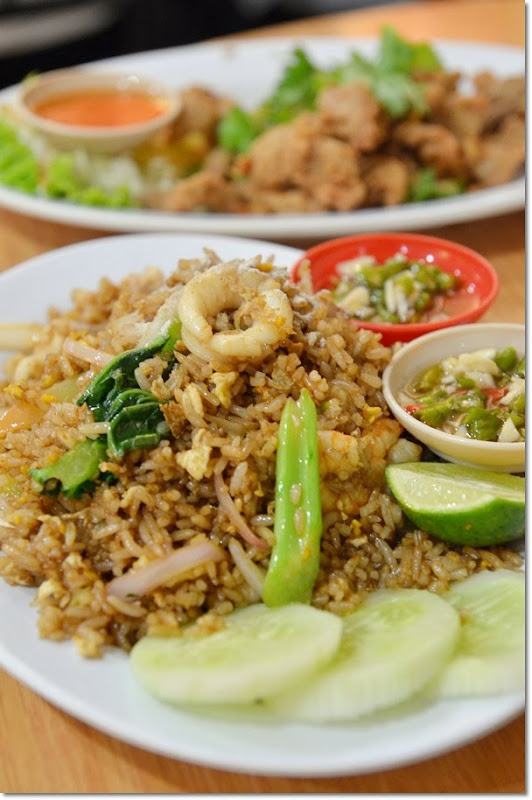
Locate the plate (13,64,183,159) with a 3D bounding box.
[{"bbox_3d":[-0.757,-1.170,3.008,0.449,0.146,0.446,-12,3,-23],"label":"plate"}]
